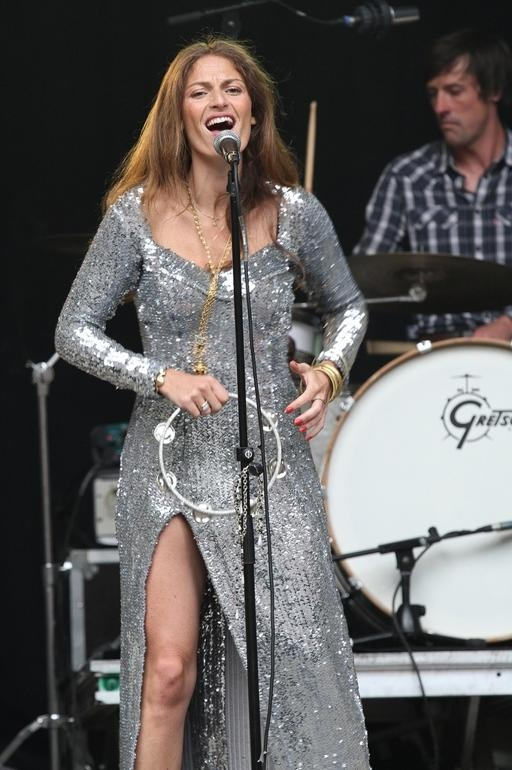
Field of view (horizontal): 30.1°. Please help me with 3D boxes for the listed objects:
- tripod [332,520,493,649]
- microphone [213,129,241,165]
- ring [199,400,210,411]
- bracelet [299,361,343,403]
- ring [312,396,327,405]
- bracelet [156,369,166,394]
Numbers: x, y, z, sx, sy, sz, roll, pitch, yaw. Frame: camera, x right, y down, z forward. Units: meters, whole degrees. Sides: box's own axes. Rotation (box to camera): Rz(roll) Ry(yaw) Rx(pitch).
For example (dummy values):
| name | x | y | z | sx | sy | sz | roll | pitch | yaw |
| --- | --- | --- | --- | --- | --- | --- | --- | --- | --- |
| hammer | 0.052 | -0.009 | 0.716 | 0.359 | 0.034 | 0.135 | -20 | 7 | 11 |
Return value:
| name | x | y | z | sx | sy | sz | roll | pitch | yaw |
| --- | --- | --- | --- | --- | --- | --- | --- | --- | --- |
| tripod | 0.384 | 0.457 | 2.249 | 0.378 | 0.202 | 0.048 | -11 | 27 | 8 |
| microphone | -0.049 | -0.394 | 1.587 | 0.043 | 0.053 | 0.114 | -5 | 15 | -1 |
| ring | -0.087 | 0.035 | 1.601 | 0.015 | 0.016 | 0.016 | -29 | 8 | 5 |
| bracelet | 0.145 | -0.007 | 1.821 | 0.083 | 0.075 | 0.062 | 36 | -21 | -35 |
| ring | 0.120 | 0.026 | 1.736 | 0.016 | 0.005 | 0.018 | -3 | 23 | -26 |
| bracelet | -0.166 | -0.009 | 1.635 | 0.009 | 0.029 | 0.023 | 9 | -9 | -20 |
